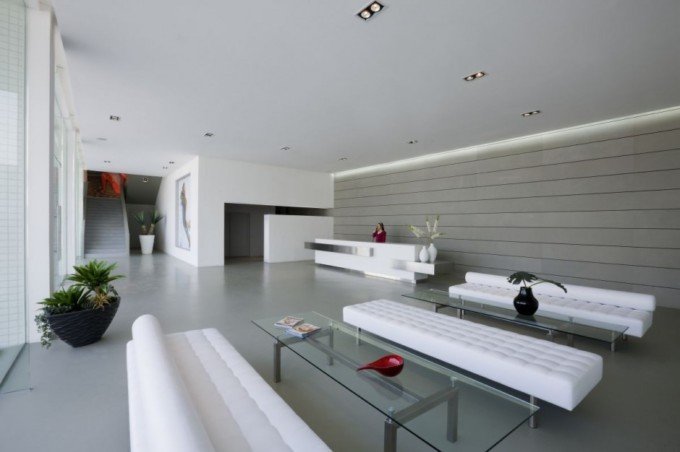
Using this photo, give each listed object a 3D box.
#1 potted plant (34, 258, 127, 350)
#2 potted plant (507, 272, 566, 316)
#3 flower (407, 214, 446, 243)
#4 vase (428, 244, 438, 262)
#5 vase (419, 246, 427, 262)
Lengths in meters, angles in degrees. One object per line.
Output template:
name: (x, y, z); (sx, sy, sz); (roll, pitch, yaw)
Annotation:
potted plant: (-3.442, 0.847, 5.480); (1.326, 1.279, 1.104); (4, -4, -36)
potted plant: (2.637, 0.787, 5.331); (0.764, 0.494, 0.749); (-2, -4, 9)
flower: (2.083, 0.078, 9.942); (0.718, 0.722, 0.654); (-10, 4, -37)
vase: (1.942, 0.548, 8.451); (0.163, 0.391, 0.448); (0, 3, 10)
vase: (1.754, 0.579, 8.364); (0.182, 0.314, 0.128); (0, 3, 6)
